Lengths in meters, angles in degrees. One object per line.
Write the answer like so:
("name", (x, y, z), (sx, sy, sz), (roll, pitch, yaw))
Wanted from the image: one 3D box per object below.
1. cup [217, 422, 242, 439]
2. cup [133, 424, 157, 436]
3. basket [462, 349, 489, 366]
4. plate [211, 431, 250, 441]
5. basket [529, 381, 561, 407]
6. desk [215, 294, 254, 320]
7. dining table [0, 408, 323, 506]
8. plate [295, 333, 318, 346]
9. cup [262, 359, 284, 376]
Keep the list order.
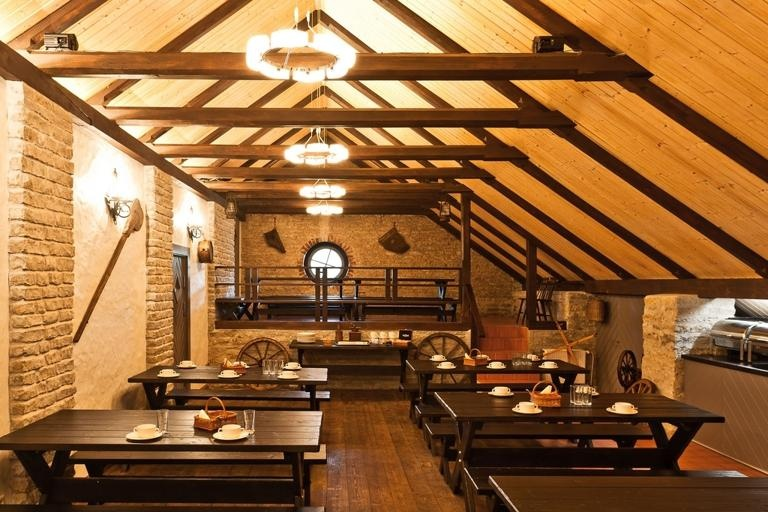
("cup", (-1.346, 1.507, 6.090), (0.169, 0.063, 0.121), (-1, -1, -6))
("cup", (-2.087, 1.513, 6.118), (0.148, 0.052, 0.106), (2, -4, -15))
("basket", (1.140, 1.267, 8.677), (0.469, 0.242, 0.233), (2, -5, 1))
("plate", (-1.313, 1.554, 6.070), (0.313, 0.089, 0.142), (1, -6, -15))
("basket", (1.603, 1.363, 6.867), (0.378, 0.206, 0.266), (0, -6, -9))
("desk", (-2.488, 0.880, 11.760), (0.632, 0.371, 1.086), (0, -6, -10))
("dining table", (-1.973, 1.862, 6.359), (2.706, 0.950, 0.927), (-1, -6, -1))
("plate", (-1.190, 1.248, 10.729), (0.310, 0.170, 0.315), (0, -6, -10))
("cup", (-1.284, 1.282, 8.129), (0.230, 0.137, 0.208), (2, -4, -19))
